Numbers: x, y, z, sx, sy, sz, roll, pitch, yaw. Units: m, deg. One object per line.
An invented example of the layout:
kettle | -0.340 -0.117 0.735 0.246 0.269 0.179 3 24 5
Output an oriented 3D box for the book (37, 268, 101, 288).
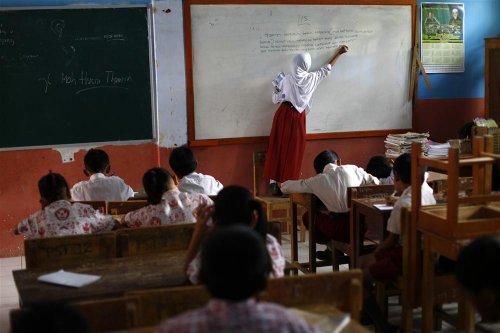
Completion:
book | -1.105 0.684 2.770 0.360 0.045 0.152 -1 9 16

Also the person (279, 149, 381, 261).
person | 0.761 0.391 4.197 0.892 1.031 0.664 -4 8 7

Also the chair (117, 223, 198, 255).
chair | -0.642 0.506 3.039 0.349 0.130 0.256 -2 9 -18

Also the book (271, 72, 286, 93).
book | 0.340 -0.987 5.311 0.087 0.212 0.211 7 -30 13

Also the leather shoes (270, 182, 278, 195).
leather shoes | 0.279 0.262 5.250 0.093 0.130 0.032 -3 -5 14
